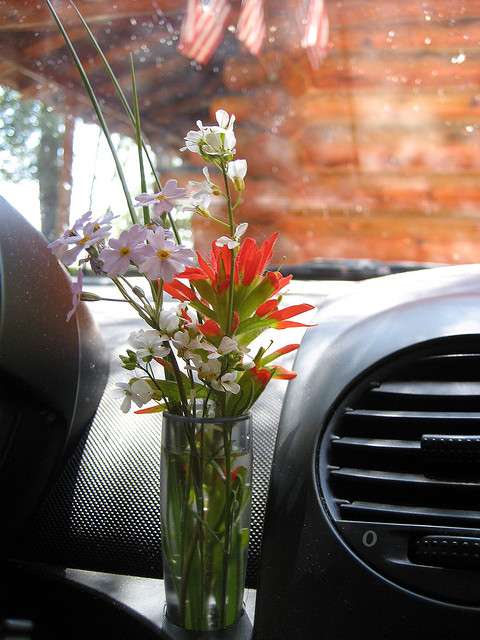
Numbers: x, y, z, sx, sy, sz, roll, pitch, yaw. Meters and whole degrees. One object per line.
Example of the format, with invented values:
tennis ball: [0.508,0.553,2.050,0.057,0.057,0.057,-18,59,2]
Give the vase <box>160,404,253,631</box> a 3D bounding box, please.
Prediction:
vase: [-0.041,0.208,0.547,0.115,0.174,0.061,10,4,6]
